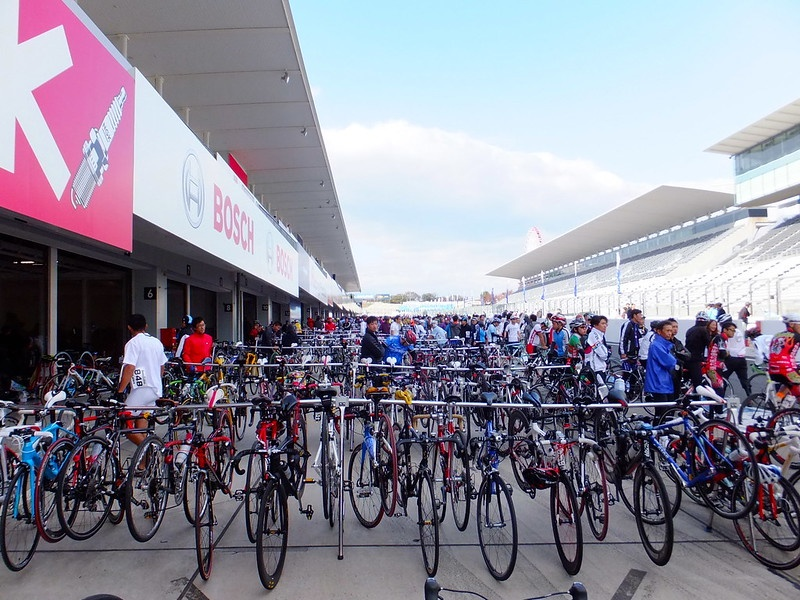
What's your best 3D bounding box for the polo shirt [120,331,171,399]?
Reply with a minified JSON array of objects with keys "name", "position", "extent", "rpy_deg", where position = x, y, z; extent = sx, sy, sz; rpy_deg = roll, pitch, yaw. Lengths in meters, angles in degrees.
[{"name":"polo shirt","position":[-3.078,0.788,7.260],"extent":[0.302,0.807,0.625],"rpy_deg":[-3,1,29]}]
